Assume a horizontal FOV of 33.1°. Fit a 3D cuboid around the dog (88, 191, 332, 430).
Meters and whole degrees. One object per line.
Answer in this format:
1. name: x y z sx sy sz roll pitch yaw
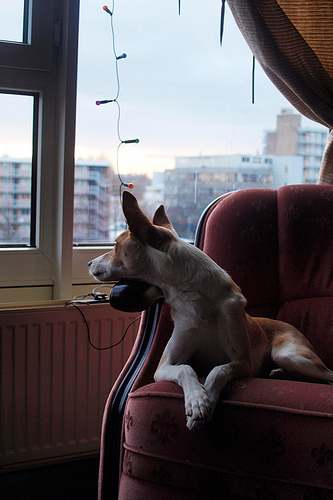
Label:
1. dog: 0.136 0.090 1.416 0.526 0.485 0.480 -7 13 -35
